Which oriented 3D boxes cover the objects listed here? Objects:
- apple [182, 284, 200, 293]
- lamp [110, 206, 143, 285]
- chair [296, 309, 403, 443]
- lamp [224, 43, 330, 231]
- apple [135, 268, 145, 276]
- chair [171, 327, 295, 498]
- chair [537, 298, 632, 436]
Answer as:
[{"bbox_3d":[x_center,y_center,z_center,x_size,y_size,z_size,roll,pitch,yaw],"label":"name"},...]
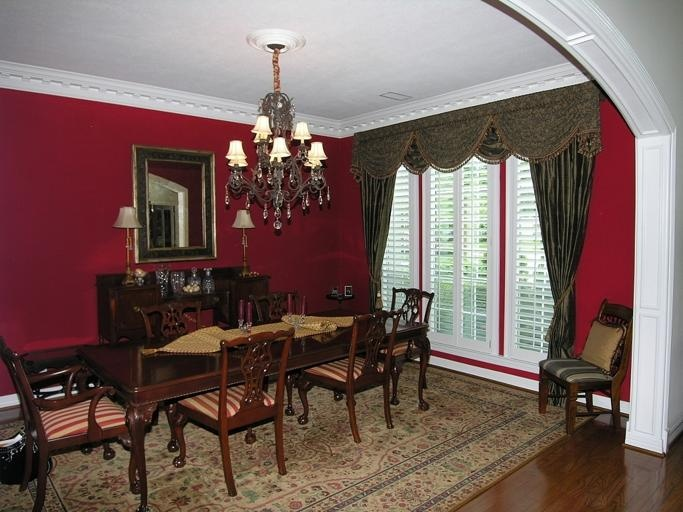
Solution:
[{"bbox_3d":[-1.783,0.372,6.169,0.117,0.054,0.119,3,3,36],"label":"apple"},{"bbox_3d":[-2.420,-0.142,5.900,0.269,0.833,0.572,-5,13,-22],"label":"lamp"},{"bbox_3d":[0.094,1.095,5.206,0.793,1.183,0.737,4,3,41],"label":"chair"},{"bbox_3d":[-0.580,-1.196,5.176,1.026,1.804,0.982,-3,3,-40],"label":"lamp"},{"bbox_3d":[-2.300,0.207,5.937,0.110,0.046,0.108,5,23,-9],"label":"apple"},{"bbox_3d":[-0.901,1.208,4.441,0.882,1.261,0.826,-3,7,-41],"label":"chair"},{"bbox_3d":[2.442,1.072,5.161,0.775,1.140,0.702,-3,6,-22],"label":"chair"}]
